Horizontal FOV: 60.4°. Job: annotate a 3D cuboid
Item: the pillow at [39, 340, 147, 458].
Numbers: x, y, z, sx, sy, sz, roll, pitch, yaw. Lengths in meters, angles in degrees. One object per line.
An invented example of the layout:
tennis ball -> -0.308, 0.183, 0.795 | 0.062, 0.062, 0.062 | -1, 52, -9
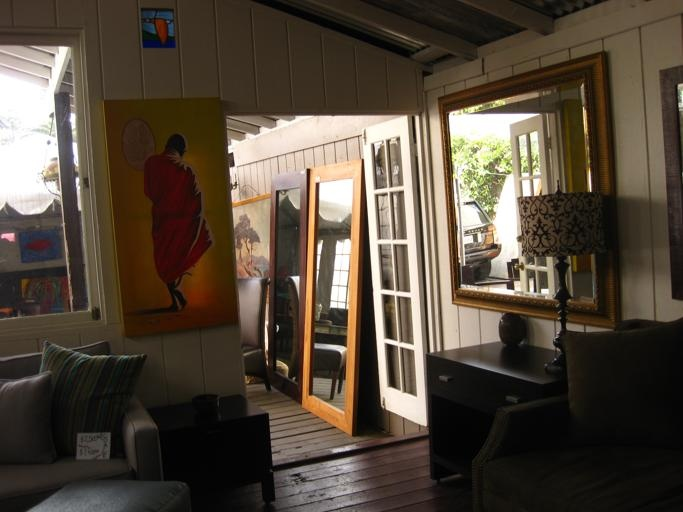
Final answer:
pillow -> -1.355, 0.785, 3.143 | 0.473, 0.433, 0.269 | -1, -40, 9

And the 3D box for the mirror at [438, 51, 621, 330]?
mirror -> 1.179, -0.420, 3.580 | 0.065, 1.882, 1.792 | -1, -2, -27

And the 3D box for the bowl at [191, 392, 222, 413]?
bowl -> -0.798, 0.861, 3.439 | 0.114, 0.055, 0.100 | -1, 7, -22

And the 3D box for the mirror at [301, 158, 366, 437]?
mirror -> -0.068, 0.318, 5.118 | 0.356, 2.239, 0.806 | -7, 7, -34

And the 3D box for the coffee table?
coffee table -> -0.800, 0.999, 3.528 | 0.632, 0.567, 0.624 | -2, -2, -29

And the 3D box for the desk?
desk -> 0.992, 1.032, 3.451 | 0.580, 0.839, 0.869 | -2, 3, -33
